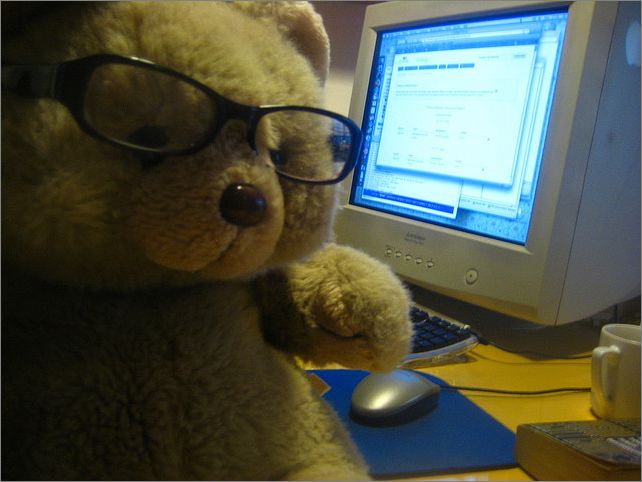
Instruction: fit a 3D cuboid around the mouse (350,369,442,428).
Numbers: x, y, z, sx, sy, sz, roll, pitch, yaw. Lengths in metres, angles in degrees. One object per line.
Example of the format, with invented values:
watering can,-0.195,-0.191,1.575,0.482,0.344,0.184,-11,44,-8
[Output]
mouse,0.078,0.165,0.609,0.110,0.032,0.068,-8,21,-45
